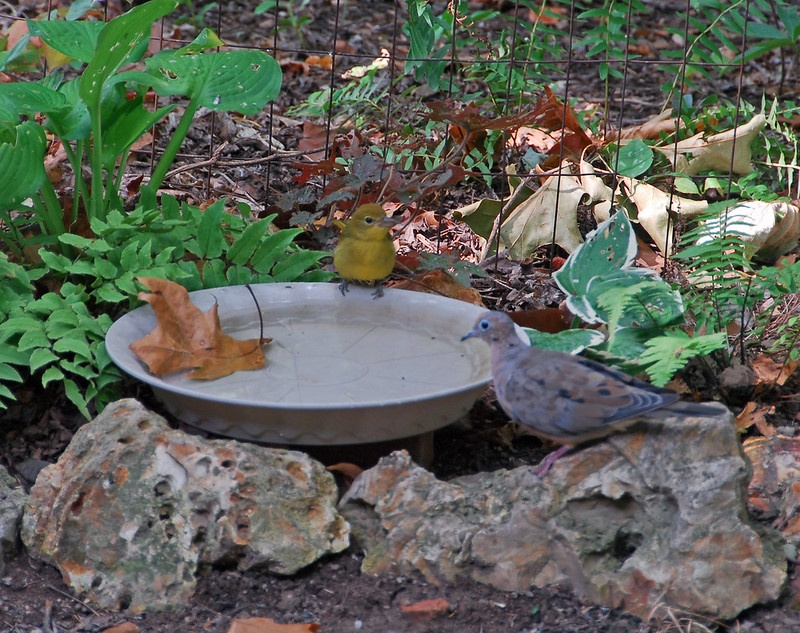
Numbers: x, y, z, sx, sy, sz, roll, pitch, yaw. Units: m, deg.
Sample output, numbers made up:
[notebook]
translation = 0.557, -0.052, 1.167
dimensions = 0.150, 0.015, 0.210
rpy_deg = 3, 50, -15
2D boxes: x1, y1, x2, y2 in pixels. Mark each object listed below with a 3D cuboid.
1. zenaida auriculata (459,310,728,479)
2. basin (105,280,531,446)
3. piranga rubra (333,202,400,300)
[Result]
[zenaida auriculata]
translation = 0.672, 0.298, 3.871
dimensions = 1.251, 0.731, 0.380
rpy_deg = -4, 21, 30
[basin]
translation = -0.449, 0.118, 4.736
dimensions = 1.722, 0.697, 1.181
rpy_deg = -5, 46, 4
[piranga rubra]
translation = -0.207, -0.365, 5.313
dimensions = 0.320, 0.464, 0.822
rpy_deg = 2, 11, -13
